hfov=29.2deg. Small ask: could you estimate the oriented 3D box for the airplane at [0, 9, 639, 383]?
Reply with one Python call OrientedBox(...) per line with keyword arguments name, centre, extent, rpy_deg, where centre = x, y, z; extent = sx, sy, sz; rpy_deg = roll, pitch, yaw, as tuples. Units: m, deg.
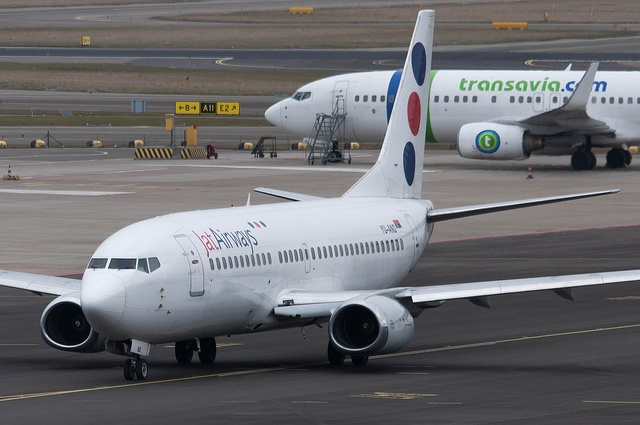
OrientedBox(name="airplane", centre=(-0.890, 0.561, 43.583), extent=(17.641, 6.202, 13.373), rpy_deg=(0, 1, 36))
